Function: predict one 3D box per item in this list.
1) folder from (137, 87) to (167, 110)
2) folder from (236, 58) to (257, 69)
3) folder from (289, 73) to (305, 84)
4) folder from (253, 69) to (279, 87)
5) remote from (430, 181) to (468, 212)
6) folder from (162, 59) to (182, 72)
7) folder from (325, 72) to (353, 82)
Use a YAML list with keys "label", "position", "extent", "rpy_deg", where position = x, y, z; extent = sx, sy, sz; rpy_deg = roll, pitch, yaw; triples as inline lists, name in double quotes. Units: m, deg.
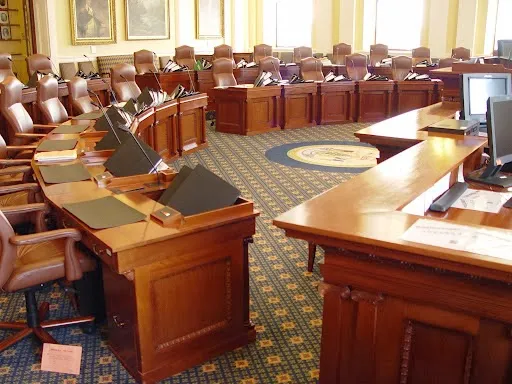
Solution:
- label: "folder"
  position: [-1.509, -1.359, 5.758]
  extent: [0.500, 0.158, 0.374]
  rpy_deg: [-26, 29, -38]
- label: "folder"
  position: [-0.195, -3.372, 10.466]
  extent: [0.743, 0.202, 0.524]
  rpy_deg: [-10, 17, -32]
- label: "folder"
  position: [0.906, -2.513, 8.821]
  extent: [0.321, 0.139, 0.387]
  rpy_deg: [3, 17, 7]
- label: "folder"
  position: [0.203, -2.412, 8.488]
  extent: [0.476, 0.165, 0.499]
  rpy_deg: [-10, 17, 3]
- label: "remote"
  position: [1.164, 0.021, 2.379]
  extent: [0.121, 0.047, 0.551]
  rpy_deg: [11, 23, 37]
- label: "folder"
  position: [-2.021, -2.971, 9.468]
  extent: [0.455, 0.133, 0.457]
  rpy_deg: [10, 25, -8]
- label: "folder"
  position: [1.857, -2.645, 9.184]
  extent: [0.528, 0.147, 0.367]
  rpy_deg: [-8, 23, -20]
